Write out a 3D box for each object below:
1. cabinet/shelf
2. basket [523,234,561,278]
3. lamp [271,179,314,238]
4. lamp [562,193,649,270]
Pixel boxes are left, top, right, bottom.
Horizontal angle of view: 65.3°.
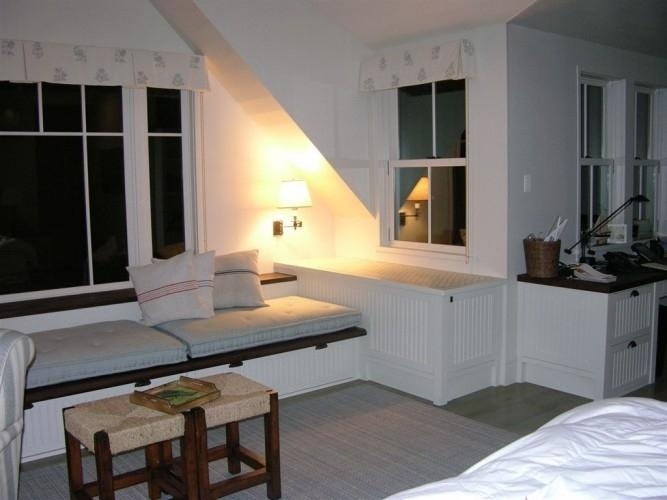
[{"bbox_3d":[2.055,0.552,4.205,1.232,1.148,0.858,-5,7,-44],"label":"cabinet/shelf"},{"bbox_3d":[1.509,0.034,3.867,0.303,0.312,0.305,-1,1,4],"label":"basket"},{"bbox_3d":[-0.352,-0.369,4.645,0.378,0.505,0.325,-4,9,-18],"label":"lamp"},{"bbox_3d":[2.315,-0.220,4.346,0.514,0.493,1.186,5,11,37],"label":"lamp"}]
